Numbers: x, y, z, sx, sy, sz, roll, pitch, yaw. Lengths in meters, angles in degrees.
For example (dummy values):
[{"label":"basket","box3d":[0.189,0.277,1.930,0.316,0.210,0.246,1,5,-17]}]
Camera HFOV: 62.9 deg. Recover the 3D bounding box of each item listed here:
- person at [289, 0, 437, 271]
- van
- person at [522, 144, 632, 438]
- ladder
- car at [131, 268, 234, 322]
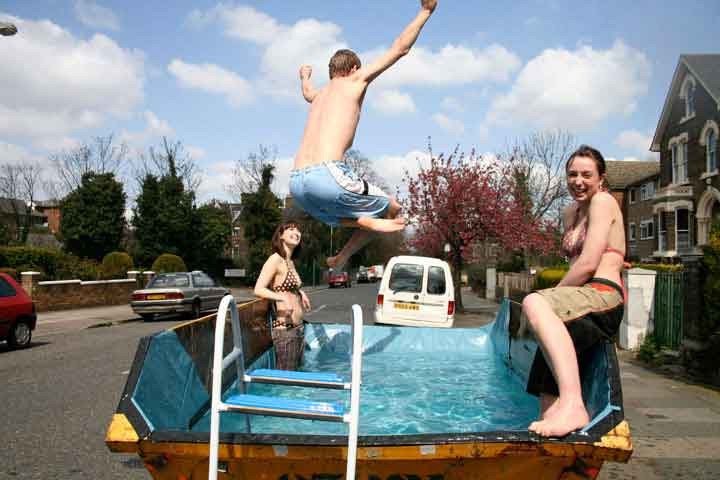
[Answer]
[{"label":"person","box3d":[-0.110,-1.236,6.604,1.327,2.290,0.583,1,1,-6]},{"label":"van","box3d":[1.286,1.095,13.636,1.080,1.066,1.976,2,6,7]},{"label":"person","box3d":[1.930,0.359,5.245,0.761,2.121,1.540,1,0,29]},{"label":"ladder","box3d":[-0.645,1.488,5.728,1.313,2.558,1.391,4,0,3]},{"label":"car","box3d":[-5.820,1.791,19.077,1.373,1.450,2.853,1,0,22]}]
